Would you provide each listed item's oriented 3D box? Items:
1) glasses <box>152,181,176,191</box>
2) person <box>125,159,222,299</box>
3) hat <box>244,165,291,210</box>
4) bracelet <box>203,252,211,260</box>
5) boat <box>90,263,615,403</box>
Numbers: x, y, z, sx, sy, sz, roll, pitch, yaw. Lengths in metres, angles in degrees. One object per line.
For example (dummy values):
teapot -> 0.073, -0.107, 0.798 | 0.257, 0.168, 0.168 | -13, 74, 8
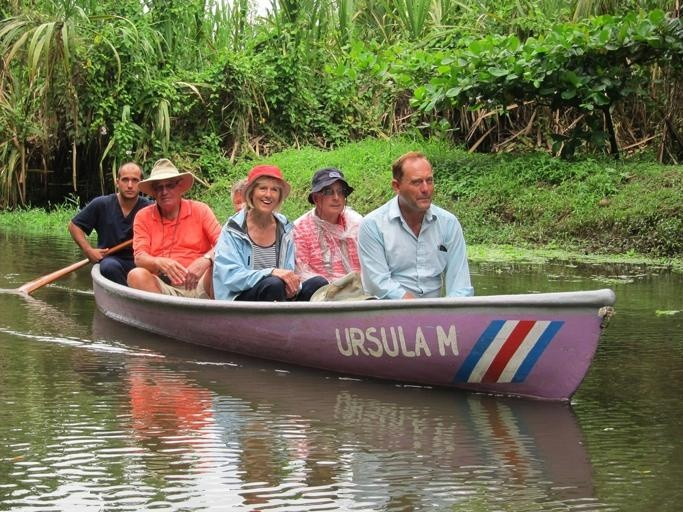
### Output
glasses -> -1.403, -0.563, 7.397 | 0.107, 0.030, 0.119 | -7, -7, -4
person -> -1.345, -0.197, 7.596 | 1.139, 1.157, 1.160 | -1, 2, -17
hat -> -0.517, -0.495, 6.691 | 0.244, 0.330, 0.396 | 8, 15, 27
bracelet -> -1.025, 0.000, 7.144 | 0.032, 0.045, 0.051 | -23, 21, -29
boat -> -0.368, 0.320, 6.390 | 4.354, 0.526, 0.978 | 2, -1, 35
